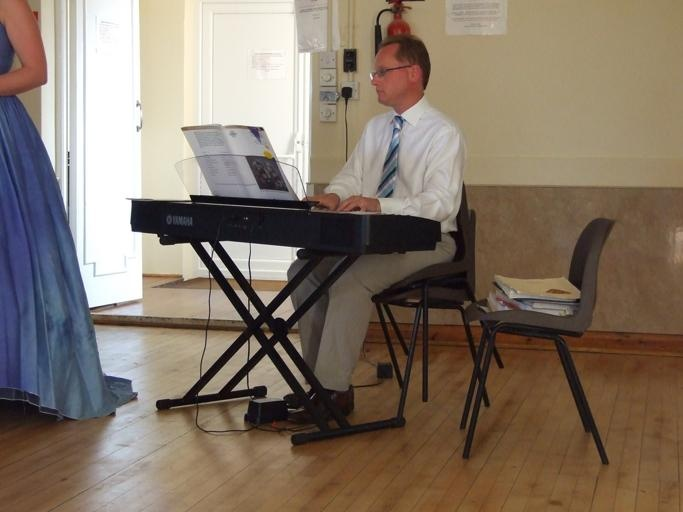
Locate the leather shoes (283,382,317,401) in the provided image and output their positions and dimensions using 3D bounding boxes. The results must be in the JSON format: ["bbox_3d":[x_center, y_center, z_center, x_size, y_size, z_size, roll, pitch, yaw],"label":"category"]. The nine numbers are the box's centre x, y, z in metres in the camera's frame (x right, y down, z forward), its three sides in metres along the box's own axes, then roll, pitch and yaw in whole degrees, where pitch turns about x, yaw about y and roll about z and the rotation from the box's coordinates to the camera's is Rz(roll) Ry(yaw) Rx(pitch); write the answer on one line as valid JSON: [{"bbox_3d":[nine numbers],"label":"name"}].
[{"bbox_3d":[-0.221,0.665,3.362,0.112,0.060,0.173,-5,8,19],"label":"leather shoes"}]

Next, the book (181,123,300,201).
[{"bbox_3d":[-0.421,-0.379,2.737,0.526,0.301,0.177,6,10,33],"label":"book"}]

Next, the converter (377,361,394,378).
[{"bbox_3d":[0.252,0.650,3.882,0.070,0.063,0.077,0,1,3],"label":"converter"}]

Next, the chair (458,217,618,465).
[{"bbox_3d":[0.881,0.321,3.048,0.636,1.021,0.727,2,9,13],"label":"chair"}]

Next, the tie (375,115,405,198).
[{"bbox_3d":[0.278,-0.531,3.506,0.047,0.476,0.113,12,-1,-42],"label":"tie"}]

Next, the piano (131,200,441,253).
[{"bbox_3d":[-0.284,-0.137,2.896,1.319,0.170,0.390,4,10,22],"label":"piano"}]

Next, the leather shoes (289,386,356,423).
[{"bbox_3d":[-0.084,0.688,3.181,0.318,0.155,0.134,6,-6,-43],"label":"leather shoes"}]

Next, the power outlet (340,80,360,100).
[{"bbox_3d":[0.065,-1.118,4.532,0.118,0.131,0.031,-2,-1,-1],"label":"power outlet"}]

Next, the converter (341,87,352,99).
[{"bbox_3d":[0.040,-1.097,4.522,0.064,0.077,0.017,4,8,3],"label":"converter"}]
